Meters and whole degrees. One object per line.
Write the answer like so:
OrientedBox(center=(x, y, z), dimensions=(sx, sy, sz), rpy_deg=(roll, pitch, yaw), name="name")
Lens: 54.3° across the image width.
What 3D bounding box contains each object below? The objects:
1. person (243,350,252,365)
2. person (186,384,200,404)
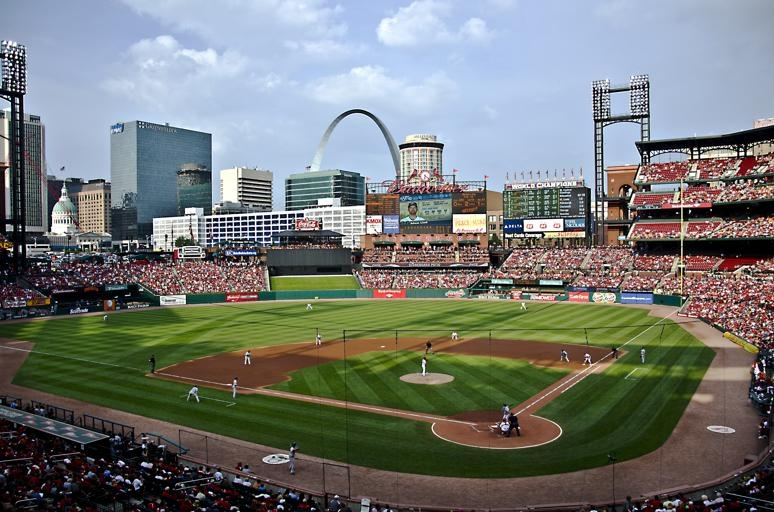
OrientedBox(center=(-13.664, 9.923, 73.626), dimensions=(0.519, 0.519, 1.256), rpy_deg=(6, -33, -23), name="person")
OrientedBox(center=(-16.625, 11.828, 64.441), dimensions=(0.909, 1.409, 0.690), rpy_deg=(24, -6, 1), name="person")
